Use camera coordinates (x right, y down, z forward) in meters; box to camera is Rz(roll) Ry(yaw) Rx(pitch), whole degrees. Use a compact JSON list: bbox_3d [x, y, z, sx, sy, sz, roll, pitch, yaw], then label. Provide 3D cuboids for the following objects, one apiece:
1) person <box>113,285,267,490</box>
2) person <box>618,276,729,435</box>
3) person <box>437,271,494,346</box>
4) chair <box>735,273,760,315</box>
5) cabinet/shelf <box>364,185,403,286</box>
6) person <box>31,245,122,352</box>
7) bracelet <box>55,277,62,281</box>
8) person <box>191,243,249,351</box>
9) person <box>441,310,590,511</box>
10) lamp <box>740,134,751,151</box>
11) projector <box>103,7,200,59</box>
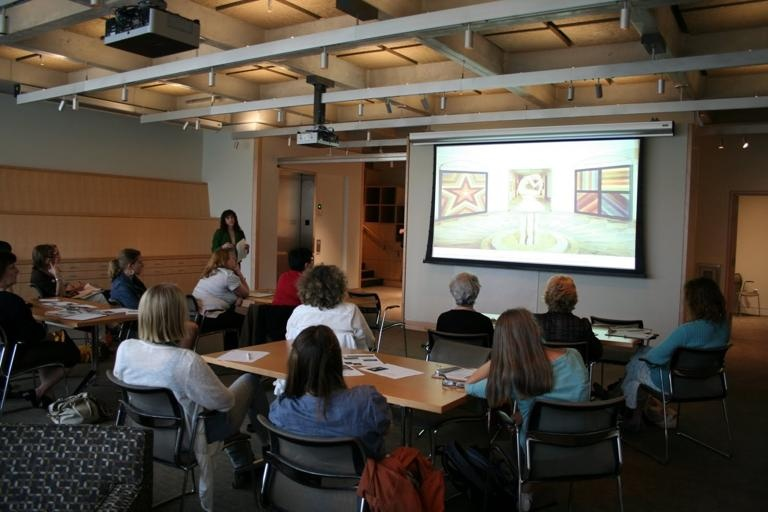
[{"bbox_3d":[-1.520,1.124,4.312,1.063,1.800,0.561,-2,4,-25],"label":"person"},{"bbox_3d":[3.009,1.060,5.758,0.948,1.678,1.067,0,9,-28],"label":"person"},{"bbox_3d":[0.878,0.669,5.754,0.655,0.920,0.540,3,9,25],"label":"person"},{"bbox_3d":[8.335,0.884,12.492,0.516,0.918,0.671,3,5,33],"label":"chair"},{"bbox_3d":[-0.043,-0.614,15.961,1.292,2.877,0.788,1,4,19],"label":"cabinet/shelf"},{"bbox_3d":[-4.337,0.582,7.681,1.159,1.375,0.625,3,8,-24],"label":"person"},{"bbox_3d":[-4.499,0.319,7.521,0.068,0.042,0.065,4,2,41],"label":"bracelet"},{"bbox_3d":[-2.148,0.645,7.310,0.651,1.373,0.871,9,14,43],"label":"person"},{"bbox_3d":[0.987,1.188,4.178,1.065,1.586,0.367,1,4,18],"label":"person"},{"bbox_3d":[6.659,-2.119,10.057,0.150,0.278,0.991,2,5,33],"label":"lamp"},{"bbox_3d":[-2.270,-2.198,5.297,0.799,0.405,0.453,2,4,28],"label":"projector"}]
